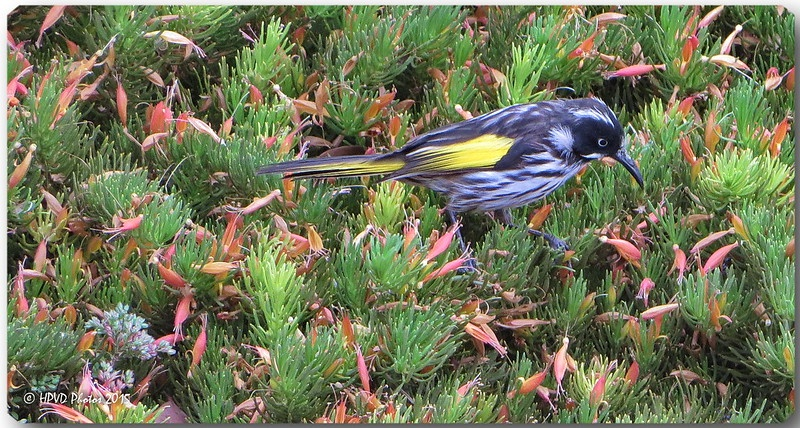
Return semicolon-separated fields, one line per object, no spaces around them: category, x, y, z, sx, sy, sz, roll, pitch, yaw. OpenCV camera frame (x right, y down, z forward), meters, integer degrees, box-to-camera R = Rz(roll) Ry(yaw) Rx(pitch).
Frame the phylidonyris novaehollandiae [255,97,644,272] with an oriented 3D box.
phylidonyris novaehollandiae;0.133;-0.189;3.010;1.274;0.483;0.558;7;14;-3
